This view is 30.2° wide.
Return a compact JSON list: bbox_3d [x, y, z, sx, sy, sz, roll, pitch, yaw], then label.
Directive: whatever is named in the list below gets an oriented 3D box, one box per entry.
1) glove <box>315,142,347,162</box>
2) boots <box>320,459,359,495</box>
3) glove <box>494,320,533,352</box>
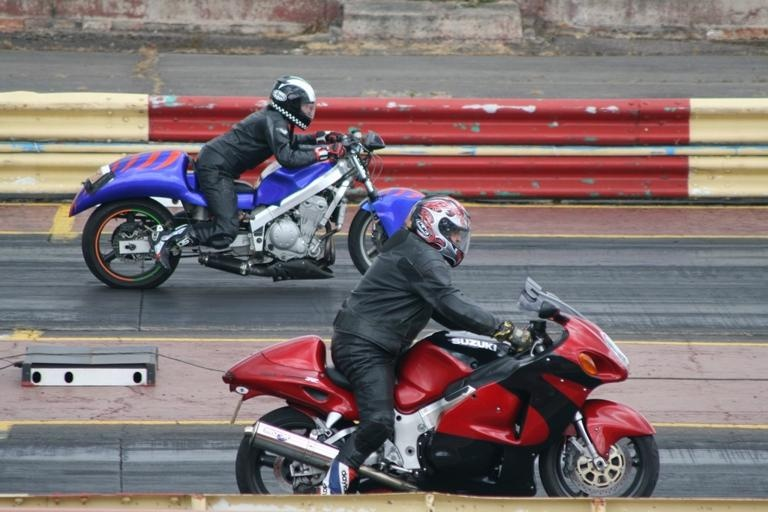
[{"bbox_3d":[-0.721,-1.493,21.061,0.527,0.159,0.354,-6,19,-8],"label":"glove"},{"bbox_3d":[-0.567,2.665,17.090,0.422,0.430,0.489,2,7,19],"label":"boots"},{"bbox_3d":[1.591,0.982,17.331,0.523,0.256,0.203,25,-2,-21],"label":"glove"}]
